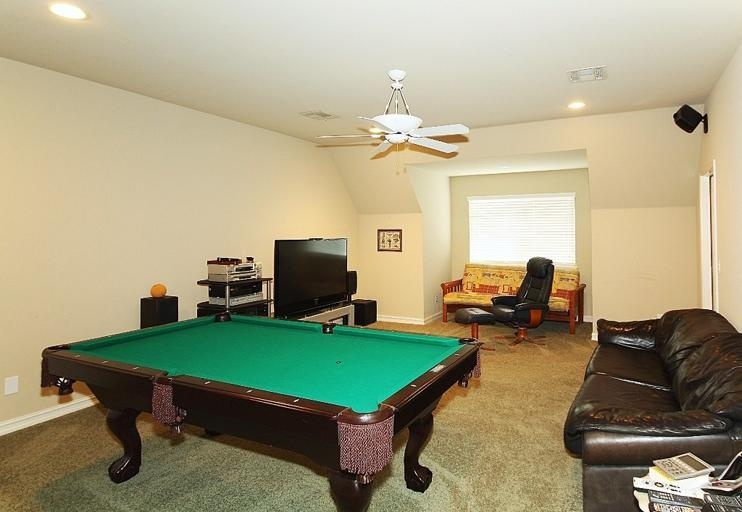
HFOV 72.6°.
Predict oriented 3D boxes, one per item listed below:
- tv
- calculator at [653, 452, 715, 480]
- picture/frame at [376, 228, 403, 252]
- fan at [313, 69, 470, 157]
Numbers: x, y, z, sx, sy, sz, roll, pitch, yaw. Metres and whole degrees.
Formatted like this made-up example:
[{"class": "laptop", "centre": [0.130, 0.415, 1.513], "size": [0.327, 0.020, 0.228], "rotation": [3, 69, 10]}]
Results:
[{"class": "tv", "centre": [-0.782, 0.272, 6.840], "size": [0.409, 1.105, 1.559], "rotation": [7, 14, 26]}, {"class": "calculator", "centre": [1.865, 1.256, 3.012], "size": [0.232, 0.046, 0.148], "rotation": [-1, 3, -15]}, {"class": "picture/frame", "centre": [0.330, -0.274, 8.538], "size": [0.503, 0.335, 0.035], "rotation": [-1, -5, 27]}, {"class": "fan", "centre": [0.242, -1.303, 4.436], "size": [1.496, 0.549, 1.255], "rotation": [-10, 21, -19]}]
